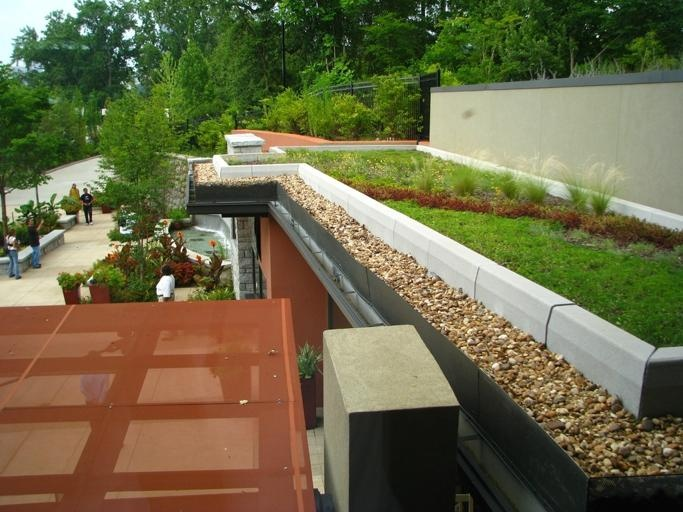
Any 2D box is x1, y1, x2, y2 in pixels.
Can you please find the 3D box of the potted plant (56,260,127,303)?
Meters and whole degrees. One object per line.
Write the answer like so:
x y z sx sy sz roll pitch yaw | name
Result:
-6.963 1.072 15.103 1.446 0.960 1.525 -3 25 -11 | potted plant

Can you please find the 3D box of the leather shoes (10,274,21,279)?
-11.061 0.708 18.224 0.348 0.158 0.119 3 11 22 | leather shoes
